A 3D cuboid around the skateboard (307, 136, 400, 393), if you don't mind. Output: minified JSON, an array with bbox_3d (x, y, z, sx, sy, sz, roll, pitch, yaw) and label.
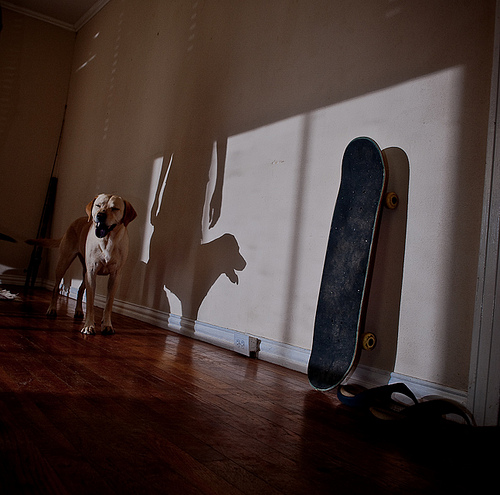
[{"bbox_3d":[0.421,0.063,1.892,0.152,1.169,0.329,6,-4,-34],"label":"skateboard"}]
